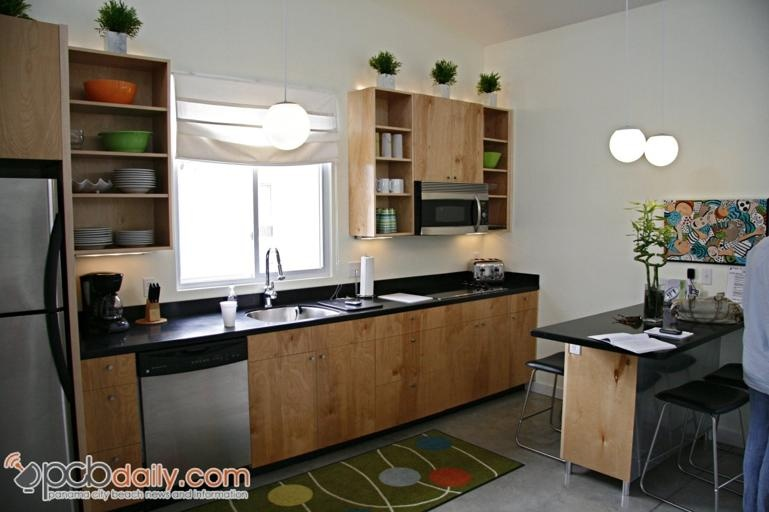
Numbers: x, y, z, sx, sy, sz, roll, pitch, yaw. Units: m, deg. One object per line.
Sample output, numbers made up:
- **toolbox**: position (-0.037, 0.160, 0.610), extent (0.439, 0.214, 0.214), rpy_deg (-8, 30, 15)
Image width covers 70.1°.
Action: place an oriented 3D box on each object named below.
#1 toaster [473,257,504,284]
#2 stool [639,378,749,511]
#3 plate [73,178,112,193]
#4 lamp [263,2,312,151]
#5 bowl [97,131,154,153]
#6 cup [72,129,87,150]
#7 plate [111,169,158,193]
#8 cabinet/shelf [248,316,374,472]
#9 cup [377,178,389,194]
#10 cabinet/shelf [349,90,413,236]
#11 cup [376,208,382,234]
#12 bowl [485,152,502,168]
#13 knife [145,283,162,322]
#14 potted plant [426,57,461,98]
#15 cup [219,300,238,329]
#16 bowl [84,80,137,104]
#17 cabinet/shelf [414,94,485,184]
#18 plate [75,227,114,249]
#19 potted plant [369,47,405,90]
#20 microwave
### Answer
- **toaster**: position (1.130, 0.165, 5.951), extent (0.275, 0.197, 0.270), rpy_deg (-8, -11, 44)
- **stool**: position (2.467, 1.349, 4.311), extent (0.653, 0.832, 1.099), rpy_deg (10, 17, 36)
- **plate**: position (-2.182, -0.492, 4.061), extent (0.177, 0.057, 0.165), rpy_deg (2, -3, -45)
- **lamp**: position (-0.819, -1.547, 4.623), extent (0.360, 1.302, 0.879), rpy_deg (-1, 14, -6)
- **bowl**: position (-1.947, -0.859, 4.147), extent (0.240, 0.090, 0.235), rpy_deg (-3, 4, 0)
- **cup**: position (-2.268, -0.864, 4.068), extent (0.084, 0.144, 0.206), rpy_deg (-6, 15, -23)
- **plate**: position (-1.898, -0.541, 4.170), extent (0.228, 0.118, 0.222), rpy_deg (0, 2, -21)
- **cabinet/shelf**: position (-0.625, 1.127, 4.445), extent (1.228, 1.024, 0.460), rpy_deg (-3, 3, -40)
- **cup**: position (-0.012, -0.664, 5.220), extent (0.156, 0.137, 0.095), rpy_deg (-3, 7, -33)
- **cabinet/shelf**: position (-0.037, -0.891, 5.253), extent (0.638, 1.353, 0.568), rpy_deg (-6, 15, -24)
- **cup**: position (-0.045, -0.331, 5.183), extent (0.071, 0.202, 0.094), rpy_deg (0, 14, 0)
- **bowl**: position (1.177, -1.049, 5.997), extent (0.187, 0.124, 0.189), rpy_deg (-1, 1, 0)
- **knife**: position (-1.826, 0.367, 4.332), extent (0.114, 0.295, 0.143), rpy_deg (1, 14, 1)
- **potted plant**: position (0.598, -1.854, 5.716), extent (0.249, 0.426, 0.548), rpy_deg (1, 13, 4)
- **cup**: position (-1.206, 0.457, 4.323), extent (0.180, 0.219, 0.196), rpy_deg (1, 3, 0)
- **bowl**: position (-2.030, -1.211, 4.063), extent (0.238, 0.109, 0.247), rpy_deg (0, 5, 0)
- **cabinet/shelf**: position (0.616, -1.157, 5.479), extent (0.951, 0.836, 0.359), rpy_deg (-4, 9, -35)
- **plate**: position (-2.169, -0.148, 4.130), extent (0.217, 0.153, 0.264), rpy_deg (-2, 14, -11)
- **potted plant**: position (-0.010, -1.801, 5.298), extent (0.285, 0.402, 0.540), rpy_deg (0, 13, -3)
- **microwave**: position (0.667, -0.472, 5.496), extent (0.972, 0.570, 0.499), rpy_deg (-2, 3, -42)
